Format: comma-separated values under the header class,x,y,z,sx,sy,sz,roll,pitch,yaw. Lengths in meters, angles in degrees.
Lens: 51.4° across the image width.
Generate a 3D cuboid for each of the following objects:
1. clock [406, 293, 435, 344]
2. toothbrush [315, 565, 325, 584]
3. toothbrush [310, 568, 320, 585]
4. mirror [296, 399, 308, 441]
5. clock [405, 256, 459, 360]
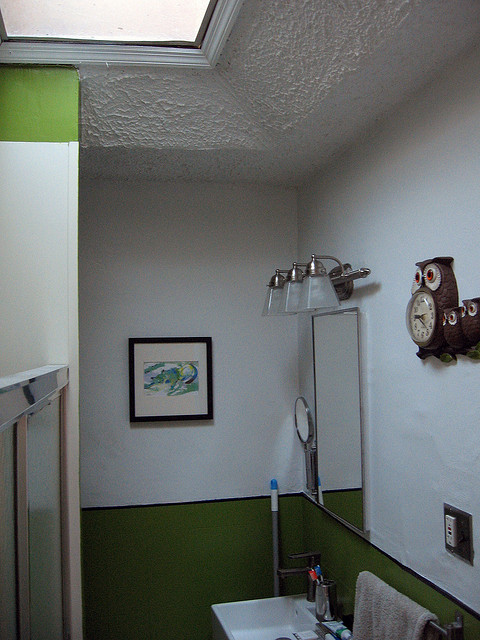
class,x,y,z,sx,sy,sz,roll,pitch,yaw
clock,0.473,-0.007,1.281,0.011,0.158,0.139,2,-5,-14
toothbrush,0.306,0.969,1.901,0.013,0.062,0.031,-25,-19,25
toothbrush,0.280,0.960,1.871,0.008,0.034,0.030,2,-13,-44
mirror,0.265,0.420,2.120,0.021,0.199,0.176,-4,-1,-8
clock,0.479,-0.044,1.255,0.039,0.220,0.120,0,3,-15
